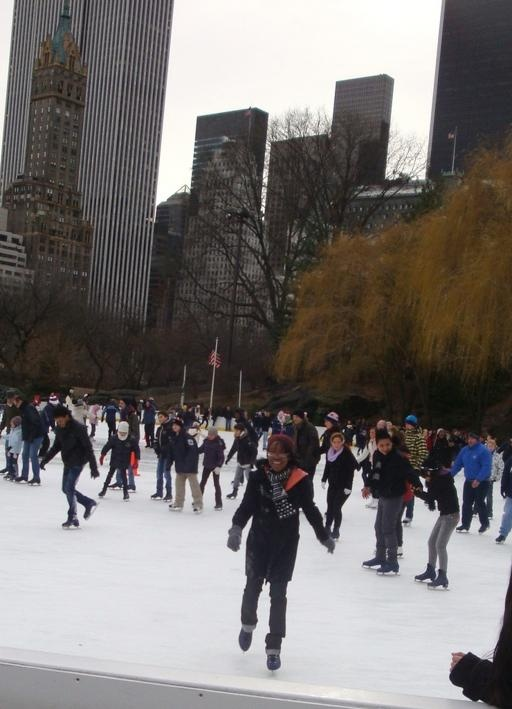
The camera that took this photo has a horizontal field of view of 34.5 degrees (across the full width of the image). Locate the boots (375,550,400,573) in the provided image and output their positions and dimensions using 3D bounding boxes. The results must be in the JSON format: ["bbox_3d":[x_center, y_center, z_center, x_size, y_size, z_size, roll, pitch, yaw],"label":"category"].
[{"bbox_3d":[1.305,2.057,8.113,0.198,0.215,0.239,6,1,10],"label":"boots"}]

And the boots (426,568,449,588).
[{"bbox_3d":[1.672,2.049,7.513,0.179,0.177,0.118,6,0,6],"label":"boots"}]

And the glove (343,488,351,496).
[{"bbox_3d":[1.104,1.658,9.934,0.064,0.048,0.076,-1,-24,-3],"label":"glove"}]

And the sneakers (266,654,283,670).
[{"bbox_3d":[0.104,1.782,4.797,0.083,0.104,0.129,6,1,3],"label":"sneakers"}]

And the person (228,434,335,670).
[{"bbox_3d":[0.103,1.191,5.106,0.547,1.439,0.641,6,0,17],"label":"person"}]

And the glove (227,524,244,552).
[{"bbox_3d":[-0.129,1.120,5.020,0.127,0.065,0.175,-6,-24,-2],"label":"glove"}]
